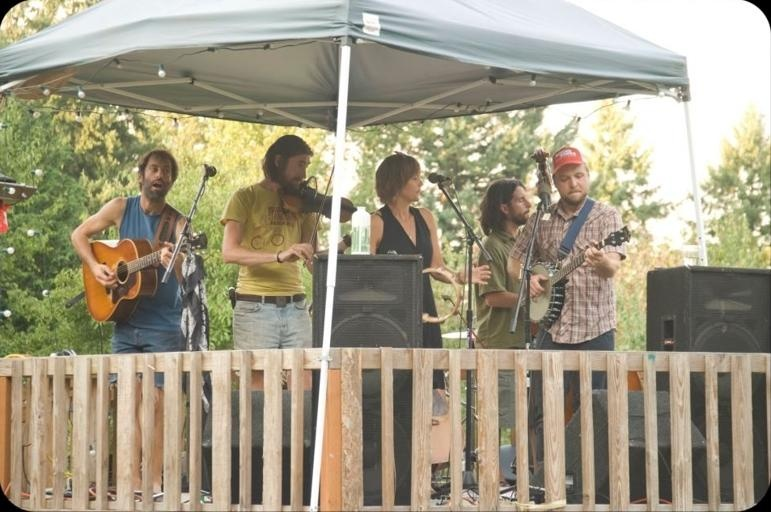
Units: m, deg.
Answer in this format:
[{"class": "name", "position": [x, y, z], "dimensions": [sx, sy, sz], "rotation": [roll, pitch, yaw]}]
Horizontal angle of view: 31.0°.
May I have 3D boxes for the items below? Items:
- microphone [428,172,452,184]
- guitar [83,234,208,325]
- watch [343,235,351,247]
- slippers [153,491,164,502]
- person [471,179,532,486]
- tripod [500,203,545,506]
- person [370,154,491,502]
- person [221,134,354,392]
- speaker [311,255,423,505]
[{"class": "microphone", "position": [0.572, -0.866, 15.369], "dimensions": [0.222, 0.094, 0.129], "rotation": [4, 8, 40]}, {"class": "guitar", "position": [-2.744, 0.235, 15.811], "dimensions": [1.489, 0.832, 0.256], "rotation": [-11, -14, 35]}, {"class": "watch", "position": [-0.435, -0.178, 15.427], "dimensions": [0.103, 0.105, 0.106], "rotation": [2, -49, 3]}, {"class": "slippers", "position": [-2.402, 2.493, 14.635], "dimensions": [0.135, 0.050, 0.138], "rotation": [5, 5, 39]}, {"class": "person", "position": [1.510, 0.661, 16.033], "dimensions": [0.888, 3.034, 0.820], "rotation": [2, 0, -13]}, {"class": "tripod", "position": [1.587, 0.788, 15.371], "dimensions": [0.567, 2.763, 0.524], "rotation": [2, 1, -20]}, {"class": "person", "position": [0.295, 0.648, 15.361], "dimensions": [1.088, 3.401, 1.089], "rotation": [0, 3, -32]}, {"class": "person", "position": [-1.116, -0.086, 15.550], "dimensions": [1.170, 3.090, 1.254], "rotation": [-3, -1, -11]}, {"class": "speaker", "position": [-0.208, 1.182, 14.760], "dimensions": [1.431, 2.306, 1.057], "rotation": [1, -2, -2]}]
